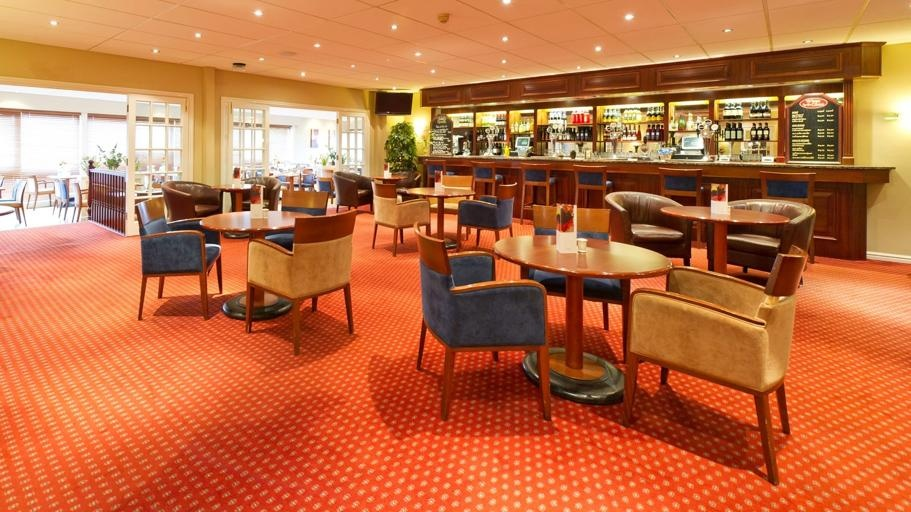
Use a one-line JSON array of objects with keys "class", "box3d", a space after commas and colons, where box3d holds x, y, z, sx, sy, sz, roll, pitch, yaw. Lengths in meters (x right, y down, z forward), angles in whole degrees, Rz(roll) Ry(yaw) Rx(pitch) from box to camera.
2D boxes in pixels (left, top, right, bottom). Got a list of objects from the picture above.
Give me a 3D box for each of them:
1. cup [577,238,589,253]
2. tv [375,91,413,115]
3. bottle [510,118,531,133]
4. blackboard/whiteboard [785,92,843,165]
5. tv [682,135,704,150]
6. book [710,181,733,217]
[{"class": "cup", "box3d": [1.417, -0.114, 6.261, 0.153, 0.141, 0.148, -1, 4, 0]}, {"class": "tv", "box3d": [-1.563, -3.871, 14.625, 1.028, 0.534, 0.639, -1, 3, 3]}, {"class": "bottle", "box3d": [1.550, -3.111, 13.519, 0.373, 0.329, 0.175, 0, 0, 14]}, {"class": "blackboard/whiteboard", "box3d": [6.405, -2.273, 10.119, 0.888, 1.174, 0.255, 5, 15, 21]}, {"class": "tv", "box3d": [4.671, -2.222, 11.164, 0.420, 0.259, 0.223, 5, 15, 22]}, {"class": "book", "box3d": [3.598, -0.771, 7.776, 0.250, 0.420, 0.047, 2, -1, -6]}]
